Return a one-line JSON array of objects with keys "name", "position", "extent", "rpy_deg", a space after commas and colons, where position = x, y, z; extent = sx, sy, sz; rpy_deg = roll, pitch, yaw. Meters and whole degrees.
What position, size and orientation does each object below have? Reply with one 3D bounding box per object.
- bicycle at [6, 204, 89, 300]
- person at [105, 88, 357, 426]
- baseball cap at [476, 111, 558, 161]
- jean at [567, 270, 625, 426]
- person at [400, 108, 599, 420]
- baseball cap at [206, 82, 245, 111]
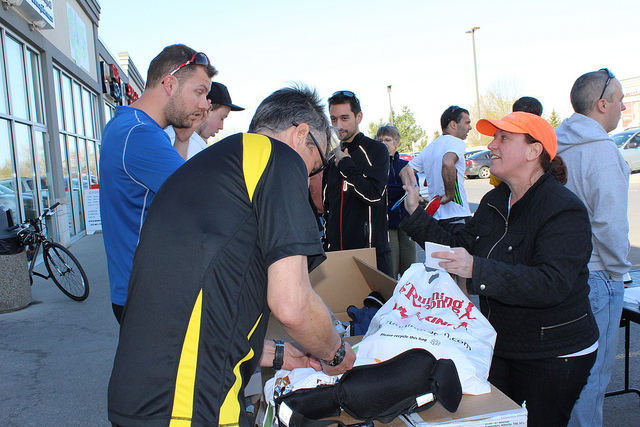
[{"name": "bicycle", "position": [-4.274, 0.723, 6.934], "extent": [0.710, 1.258, 1.294], "rpy_deg": [-10, 14, -43]}, {"name": "person", "position": [-0.425, 0.287, 1.916], "extent": [1.007, 1.253, 0.441], "rpy_deg": [1, 10, 9]}, {"name": "baseball cap", "position": [1.308, -0.547, 2.895], "extent": [0.474, 0.247, 0.322], "rpy_deg": [25, -1, -5]}, {"name": "jean", "position": [1.919, 0.902, 3.170], "extent": [0.403, 1.184, 0.540], "rpy_deg": [-1, -3, 0]}, {"name": "person", "position": [1.261, 0.327, 2.863], "extent": [1.001, 1.960, 0.765], "rpy_deg": [2, 11, 14]}, {"name": "baseball cap", "position": [-1.019, -1.205, 4.458], "extent": [0.547, 0.288, 0.349], "rpy_deg": [-1, 6, -19]}]
